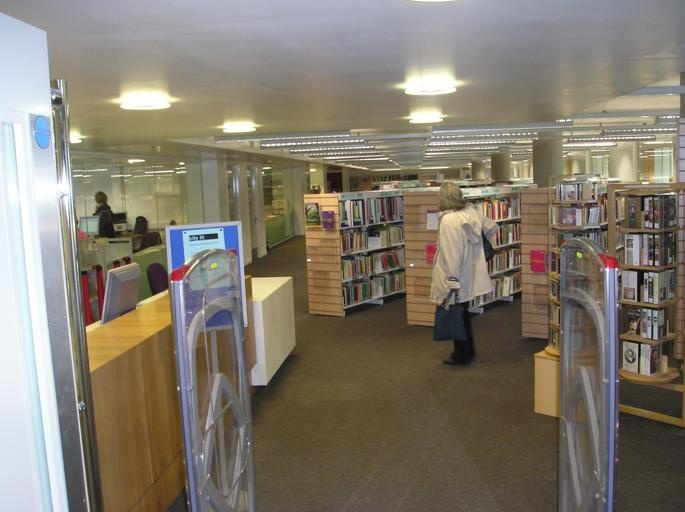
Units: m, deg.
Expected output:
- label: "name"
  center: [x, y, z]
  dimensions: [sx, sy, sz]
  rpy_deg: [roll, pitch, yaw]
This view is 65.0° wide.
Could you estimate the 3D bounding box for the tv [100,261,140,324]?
- label: "tv"
  center: [-1.776, 0.323, 4.441]
  dimensions: [0.152, 0.484, 0.469]
  rpy_deg: [12, 9, 5]
